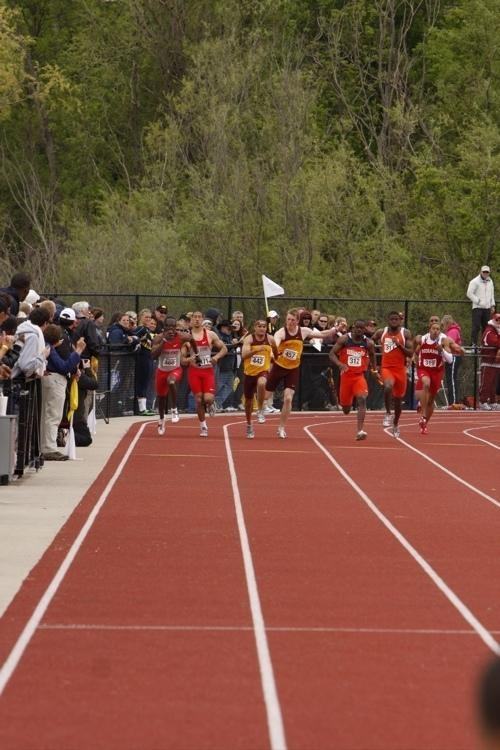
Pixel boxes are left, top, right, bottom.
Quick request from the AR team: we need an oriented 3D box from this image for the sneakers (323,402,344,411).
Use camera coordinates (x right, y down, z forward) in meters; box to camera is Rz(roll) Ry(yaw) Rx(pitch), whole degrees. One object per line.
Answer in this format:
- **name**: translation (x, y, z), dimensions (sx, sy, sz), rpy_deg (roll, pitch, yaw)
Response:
- **sneakers**: translation (2.060, 0.821, 22.663), dimensions (0.425, 0.209, 0.151), rpy_deg (-1, 5, 1)

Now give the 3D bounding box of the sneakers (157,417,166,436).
- **sneakers**: translation (-1.595, 0.958, 16.340), dimensions (0.124, 0.429, 0.168), rpy_deg (0, -6, 15)

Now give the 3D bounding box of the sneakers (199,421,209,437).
- **sneakers**: translation (-0.813, 1.000, 16.301), dimensions (0.111, 0.152, 0.333), rpy_deg (0, 4, 2)

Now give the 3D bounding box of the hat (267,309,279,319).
- **hat**: translation (0.510, -1.318, 20.019), dimensions (0.213, 0.169, 0.314), rpy_deg (0, 2, -17)

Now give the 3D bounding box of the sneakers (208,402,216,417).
- **sneakers**: translation (-0.825, 0.801, 20.332), dimensions (0.194, 0.281, 0.622), rpy_deg (2, 10, 1)

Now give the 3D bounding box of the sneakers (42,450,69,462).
- **sneakers**: translation (-2.673, 1.138, 12.585), dimensions (0.344, 0.159, 0.137), rpy_deg (0, -1, 5)

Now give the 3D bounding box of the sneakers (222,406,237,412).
- **sneakers**: translation (-0.450, 0.857, 21.952), dimensions (0.140, 0.138, 0.407), rpy_deg (1, 1, 43)

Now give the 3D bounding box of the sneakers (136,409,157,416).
- **sneakers**: translation (-2.287, 0.858, 20.373), dimensions (0.428, 0.195, 0.152), rpy_deg (-1, 2, 4)

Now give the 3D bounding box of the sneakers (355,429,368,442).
- **sneakers**: translation (1.948, 1.091, 15.942), dimensions (0.118, 0.155, 0.345), rpy_deg (-1, -24, -4)

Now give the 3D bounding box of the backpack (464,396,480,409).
- **backpack**: translation (5.752, 0.741, 23.662), dimensions (0.299, 0.361, 0.295), rpy_deg (1, 2, 12)
